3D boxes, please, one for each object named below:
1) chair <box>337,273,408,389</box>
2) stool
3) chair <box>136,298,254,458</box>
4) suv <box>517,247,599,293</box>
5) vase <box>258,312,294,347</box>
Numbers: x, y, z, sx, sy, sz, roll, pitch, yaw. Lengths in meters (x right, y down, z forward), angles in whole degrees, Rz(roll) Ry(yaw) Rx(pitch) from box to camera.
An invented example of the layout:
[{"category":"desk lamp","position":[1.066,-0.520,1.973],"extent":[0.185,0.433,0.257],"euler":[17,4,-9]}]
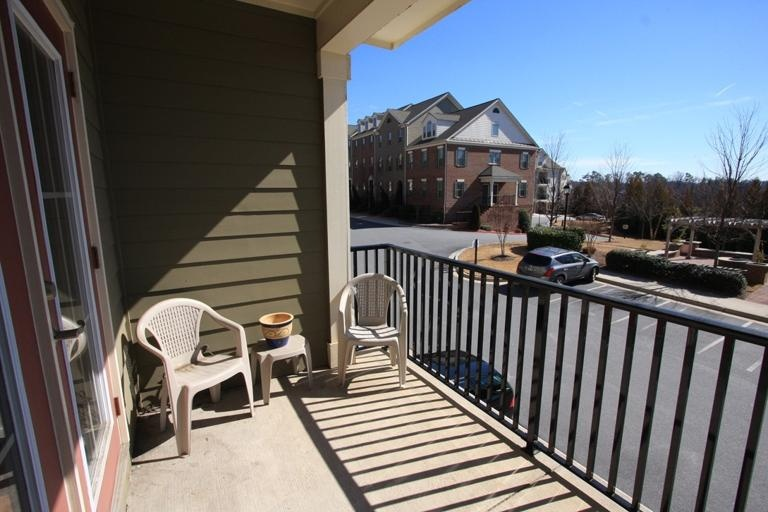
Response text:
[{"category":"chair","position":[-0.116,0.740,5.020],"extent":[0.709,1.103,0.688],"euler":[1,9,-4]},{"category":"stool","position":[-1.009,1.030,4.845],"extent":[0.580,0.508,0.611],"euler":[-5,8,-25]},{"category":"chair","position":[-1.748,1.118,4.372],"extent":[0.912,1.317,0.969],"euler":[11,14,38]},{"category":"suv","position":[4.001,0.295,11.004],"extent":[2.012,0.822,0.936],"euler":[-8,12,-32]},{"category":"vase","position":[-1.047,0.739,4.767],"extent":[0.328,0.273,0.336],"euler":[-6,10,-27]}]
